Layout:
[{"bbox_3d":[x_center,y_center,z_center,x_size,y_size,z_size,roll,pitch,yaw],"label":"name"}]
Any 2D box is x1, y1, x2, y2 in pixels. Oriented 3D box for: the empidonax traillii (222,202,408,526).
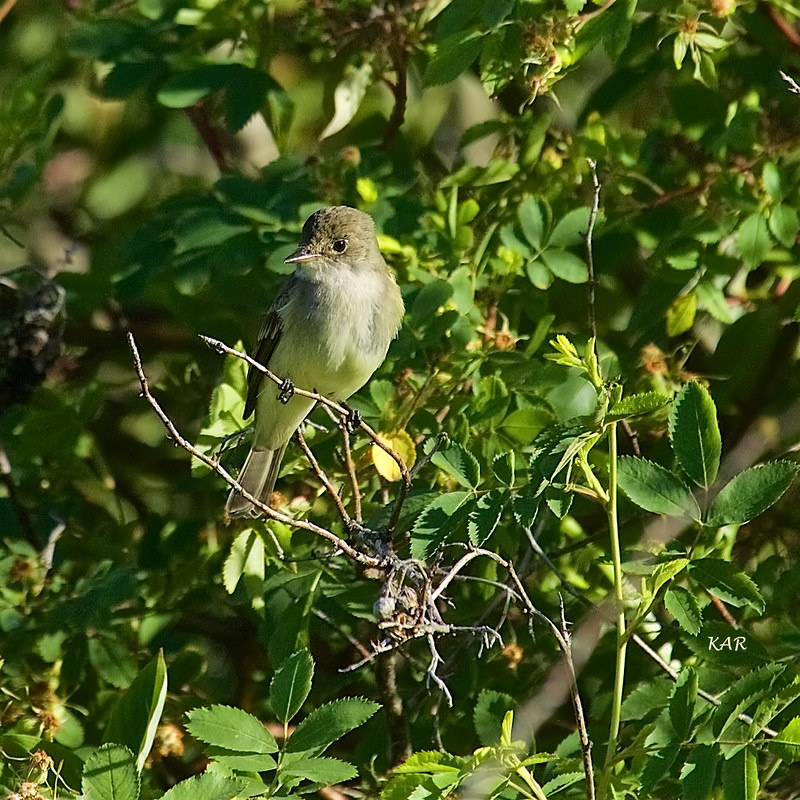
[{"bbox_3d":[-0.246,-0.031,3.889,0.460,1.259,0.553,23,34,-17],"label":"empidonax traillii"}]
